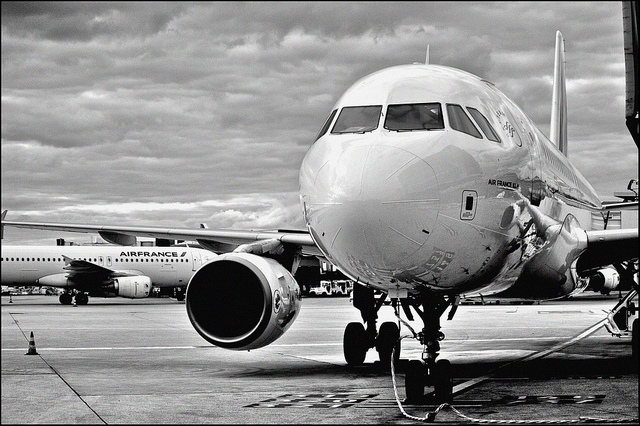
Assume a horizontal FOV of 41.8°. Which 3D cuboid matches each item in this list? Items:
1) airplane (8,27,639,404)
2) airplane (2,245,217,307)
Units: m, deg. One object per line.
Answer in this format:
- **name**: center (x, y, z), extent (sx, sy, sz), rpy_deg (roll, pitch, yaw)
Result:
- **airplane**: center (1.690, -0.070, 14.478), extent (9.752, 3.641, 8.951), rpy_deg (1, -5, 16)
- **airplane**: center (-12.795, 3.237, 48.958), extent (9.720, 2.823, 8.762), rpy_deg (1, -2, -22)
